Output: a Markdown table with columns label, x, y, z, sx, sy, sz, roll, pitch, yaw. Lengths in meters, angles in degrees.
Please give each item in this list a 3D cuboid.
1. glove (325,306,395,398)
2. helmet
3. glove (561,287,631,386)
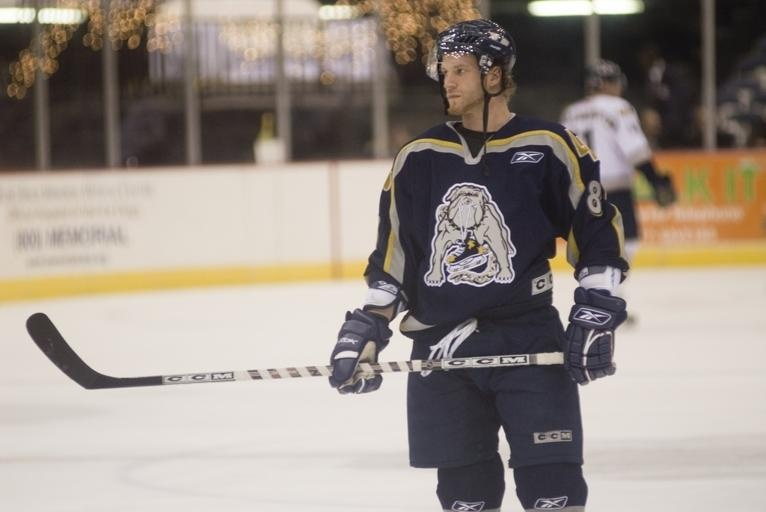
| label | x | y | z | sx | sy | sz | roll | pitch | yaw |
| --- | --- | --- | --- | --- | --- | --- | --- | --- | --- |
| glove | -0.116 | 0.472 | 7.215 | 0.268 | 0.453 | 0.197 | 14 | -5 | 15 |
| helmet | 0.494 | -1.053 | 7.329 | 0.415 | 0.310 | 0.304 | -1 | 0 | -11 |
| glove | 1.067 | 0.396 | 7.130 | 0.315 | 0.480 | 0.196 | -2 | 8 | 4 |
